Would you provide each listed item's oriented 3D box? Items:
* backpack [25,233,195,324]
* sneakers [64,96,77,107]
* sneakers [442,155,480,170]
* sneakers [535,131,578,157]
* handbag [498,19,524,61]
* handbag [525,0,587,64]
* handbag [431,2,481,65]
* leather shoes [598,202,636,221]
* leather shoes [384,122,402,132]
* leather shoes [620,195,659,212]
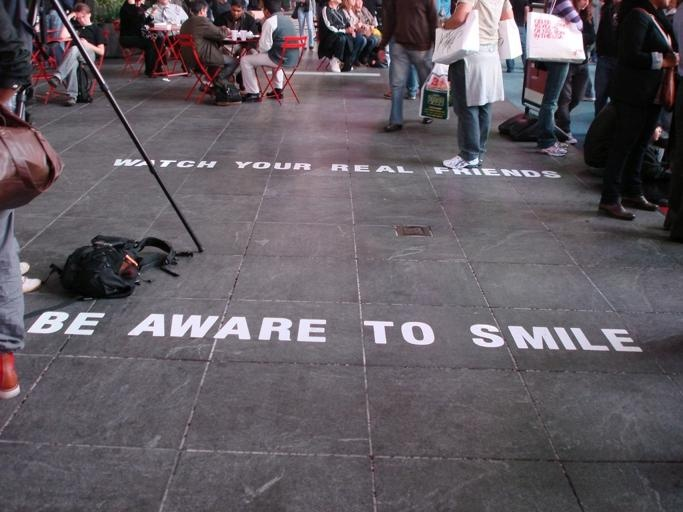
[{"bbox_3d":[-1.550,0.186,3.894,0.792,0.214,0.583,13,10,-25],"label":"backpack"},{"bbox_3d":[-4.522,-2.596,9.294,0.115,0.117,0.299,-2,10,-17],"label":"sneakers"},{"bbox_3d":[1.411,-1.115,6.598,0.406,0.160,0.177,3,11,2],"label":"sneakers"},{"bbox_3d":[2.941,-1.476,7.442,0.719,0.286,0.251,-3,50,-36],"label":"sneakers"},{"bbox_3d":[2.052,-2.632,6.759,0.285,0.509,0.776,6,29,14],"label":"handbag"},{"bbox_3d":[2.634,-2.693,6.840,0.725,0.558,0.469,0,29,3],"label":"handbag"},{"bbox_3d":[1.231,-2.388,6.026,0.522,0.530,0.365,12,32,23],"label":"handbag"},{"bbox_3d":[2.621,-0.451,5.356,0.137,0.142,0.373,-23,28,-39],"label":"leather shoes"},{"bbox_3d":[0.744,-1.900,8.141,0.301,0.116,0.108,-4,12,-42],"label":"leather shoes"},{"bbox_3d":[3.019,-0.538,5.569,0.400,0.152,0.138,7,23,10],"label":"leather shoes"}]
